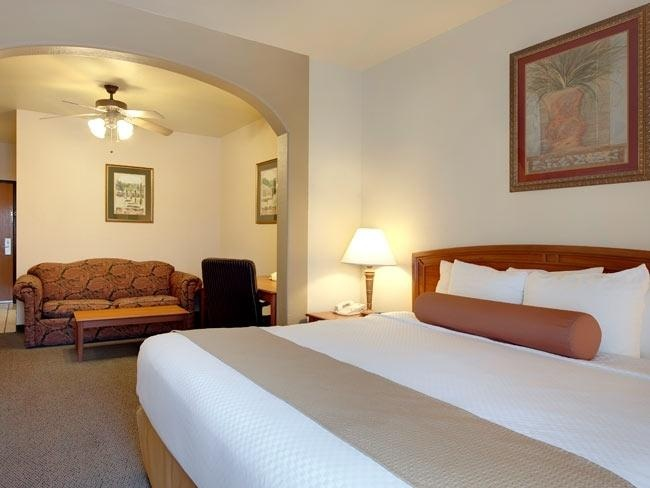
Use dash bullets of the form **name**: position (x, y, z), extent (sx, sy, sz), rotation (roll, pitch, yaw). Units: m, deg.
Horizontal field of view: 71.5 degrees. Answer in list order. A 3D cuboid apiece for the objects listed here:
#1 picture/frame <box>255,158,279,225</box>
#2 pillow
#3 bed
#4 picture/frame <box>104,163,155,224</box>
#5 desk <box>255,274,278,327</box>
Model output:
- **picture/frame**: position (-0.761, -0.686, 5.856), extent (0.133, 0.802, 0.634), rotation (-3, 6, -23)
- **pillow**: position (1.269, 0.323, 2.690), extent (0.569, 0.479, 1.027), rotation (-5, 7, -38)
- **bed**: position (0.571, 0.219, 2.899), extent (1.916, 1.284, 1.857), rotation (0, 2, -22)
- **picture/frame**: position (-2.888, -0.752, 6.576), extent (0.869, 1.179, 0.048), rotation (1, -1, -34)
- **desk**: position (-0.594, 0.562, 4.579), extent (0.207, 0.295, 0.594), rotation (-2, 3, -27)
